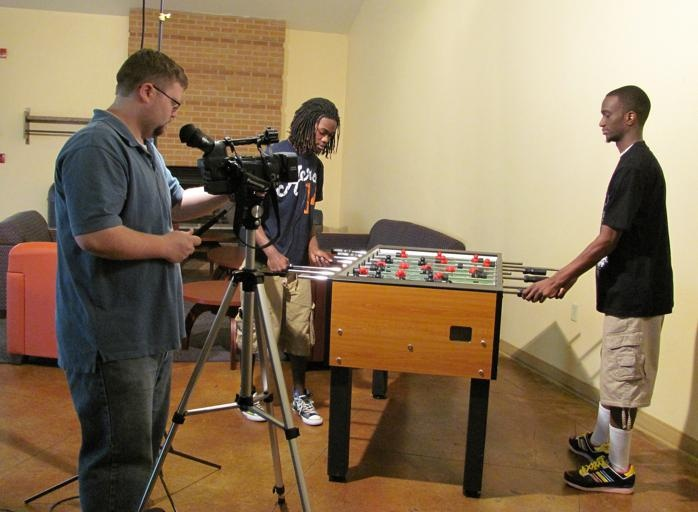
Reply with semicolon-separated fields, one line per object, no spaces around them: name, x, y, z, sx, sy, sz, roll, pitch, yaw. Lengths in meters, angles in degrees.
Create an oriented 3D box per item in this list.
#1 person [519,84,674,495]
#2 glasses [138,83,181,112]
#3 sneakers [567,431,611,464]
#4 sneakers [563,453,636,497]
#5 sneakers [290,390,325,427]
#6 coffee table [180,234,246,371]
person;1.396;0.163;3.172;0.615;2.095;0.603;13;18;37
glasses;-0.769;-0.645;2.404;0.100;0.028;0.098;41;6;24
sneakers;1.394;1.103;3.423;0.084;0.108;0.234;-2;4;-22
sneakers;1.348;1.184;3.247;0.421;0.202;0.156;3;-6;10
sneakers;-0.266;0.940;3.709;0.113;0.148;0.334;-3;7;-28
coffee table;-1.009;0.368;4.378;0.429;0.375;1.112;0;15;-13
